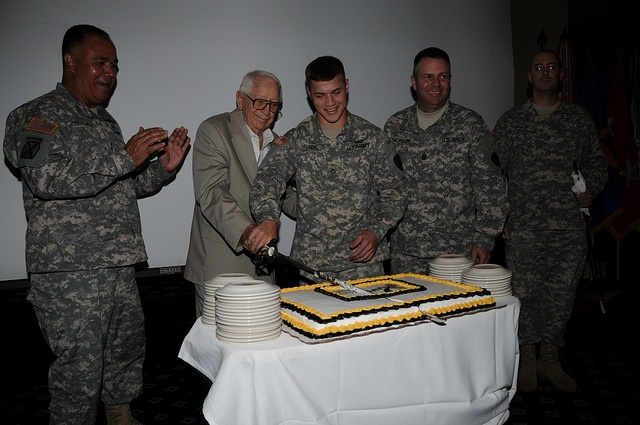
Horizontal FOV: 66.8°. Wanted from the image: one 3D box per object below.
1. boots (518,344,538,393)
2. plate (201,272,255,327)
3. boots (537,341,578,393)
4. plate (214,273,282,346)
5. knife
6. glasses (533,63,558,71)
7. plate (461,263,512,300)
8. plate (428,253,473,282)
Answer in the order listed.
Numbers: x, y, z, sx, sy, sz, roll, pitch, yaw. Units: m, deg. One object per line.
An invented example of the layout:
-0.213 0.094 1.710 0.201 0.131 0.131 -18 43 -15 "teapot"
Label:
1.779 1.333 4.162 0.167 0.316 0.501 -4 -4 24 "boots"
-0.564 0.494 2.884 0.292 0.217 0.290 0 7 -9 "plate"
2.037 1.313 4.166 0.173 0.328 0.417 2 4 -21 "boots"
-0.385 0.526 2.682 0.322 0.226 0.313 -1 7 1 "plate"
0.218 0.453 3.092 0.854 0.098 0.145 22 -39 -3 "knife"
1.924 -1.235 4.136 0.103 0.032 0.106 0 0 16 "glasses"
1.106 0.439 3.155 0.234 0.095 0.228 -3 9 10 "plate"
0.893 0.377 3.401 0.208 0.085 0.202 -4 7 1 "plate"
